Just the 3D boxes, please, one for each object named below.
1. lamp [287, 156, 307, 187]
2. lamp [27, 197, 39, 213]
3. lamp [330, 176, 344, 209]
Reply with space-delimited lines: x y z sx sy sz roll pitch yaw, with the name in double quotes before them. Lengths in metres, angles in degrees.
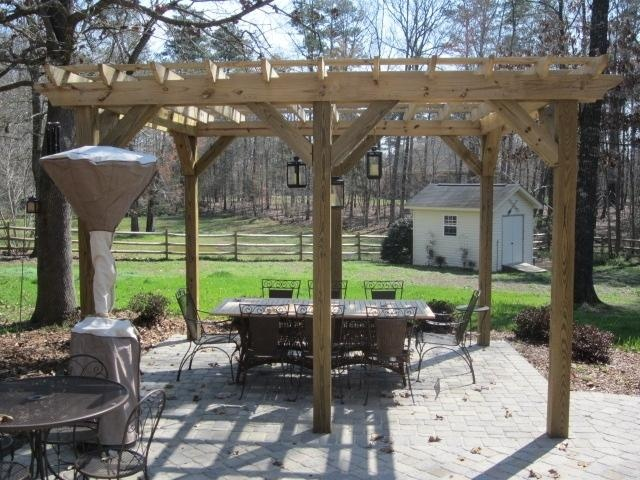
"lamp" -0.393 -1.108 11.290 0.295 0.544 0.874 1 8 -3
"lamp" -5.093 -0.603 12.023 0.194 0.316 0.702 -2 9 -22
"lamp" 0.288 -0.774 11.154 0.188 0.489 0.199 2 9 6
